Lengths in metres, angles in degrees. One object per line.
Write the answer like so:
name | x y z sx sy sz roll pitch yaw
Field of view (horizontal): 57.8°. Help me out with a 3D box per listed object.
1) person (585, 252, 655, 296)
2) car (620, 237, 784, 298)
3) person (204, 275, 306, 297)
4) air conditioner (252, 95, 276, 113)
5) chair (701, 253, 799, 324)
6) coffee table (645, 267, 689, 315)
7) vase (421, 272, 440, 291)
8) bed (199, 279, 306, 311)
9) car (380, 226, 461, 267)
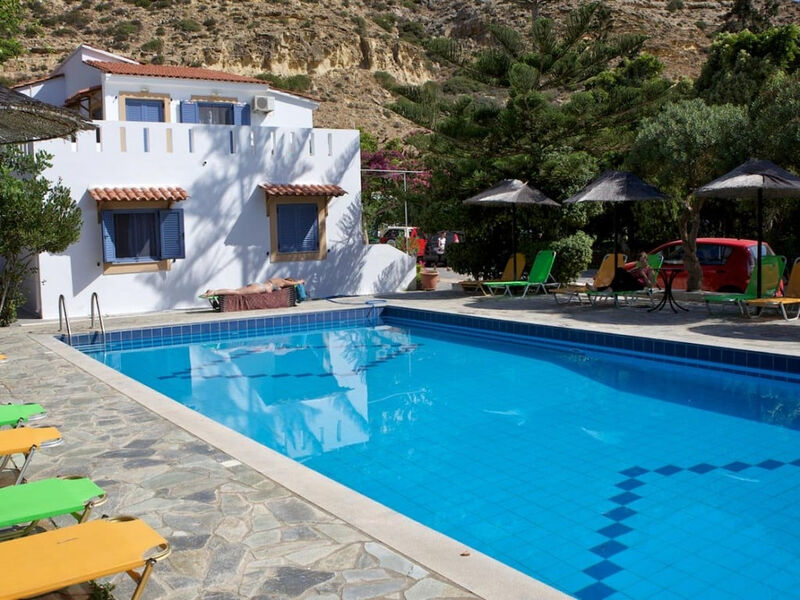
person | 4.782 -0.522 15.520 0.989 0.716 1.621 0 5 29
car | 7.319 -1.003 17.813 2.030 1.481 3.323 -6 11 -41
person | -3.283 -0.282 16.667 2.752 0.404 0.720 -6 4 -31
air conditioner | -5.314 -7.424 27.680 0.714 0.486 0.698 -1 1 -23
chair | 6.376 -0.211 13.518 1.984 1.293 1.187 -1 1 -30
coffee table | 5.303 -0.194 14.349 0.995 0.811 0.982 1 0 -34
vase | 0.798 -0.517 20.324 0.507 0.408 0.499 0 0 2
bed | -3.270 -0.090 16.569 1.448 0.430 0.965 -8 9 -30
car | 0.829 -2.255 31.183 1.957 1.795 3.491 -5 13 -28
